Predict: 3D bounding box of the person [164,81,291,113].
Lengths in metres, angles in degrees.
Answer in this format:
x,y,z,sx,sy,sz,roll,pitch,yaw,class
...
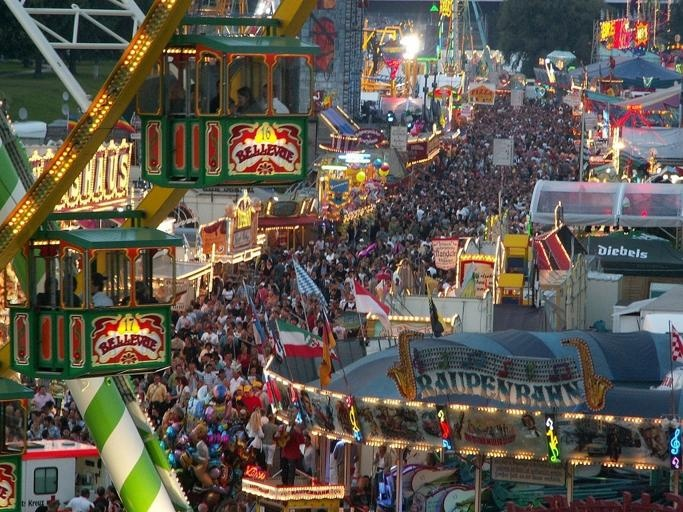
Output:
x,y,z,sx,sy,sz,roll,pitch,yaw,class
-2.007,-2.765,36.740,2.119,0.584,0.201,-3,15,-5,person

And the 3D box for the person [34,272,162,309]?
x,y,z,sx,sy,sz,roll,pitch,yaw,class
-4.375,0.672,36.411,2.119,0.617,0.306,-3,15,-8,person
